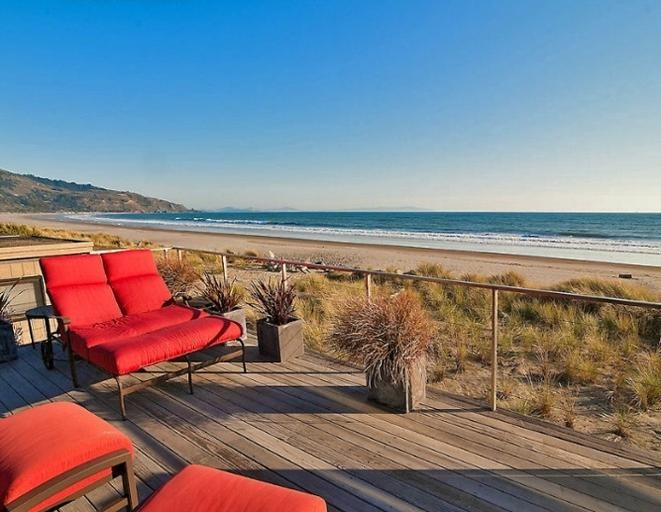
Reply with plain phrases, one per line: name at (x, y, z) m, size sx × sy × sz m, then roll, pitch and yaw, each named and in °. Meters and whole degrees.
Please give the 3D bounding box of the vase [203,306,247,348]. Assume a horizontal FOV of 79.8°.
vase at (-1.178, 0.788, 4.504) m, size 0.485 × 0.382 × 0.435 m, roll -1°, pitch -1°, yaw -10°

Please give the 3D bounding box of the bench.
bench at (-1.951, 0.593, 3.993) m, size 2.033 × 1.030 × 1.504 m, roll 15°, pitch 17°, yaw 40°

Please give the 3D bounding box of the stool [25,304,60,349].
stool at (-2.807, 0.636, 3.796) m, size 0.230 × 0.197 × 0.205 m, roll 11°, pitch 11°, yaw 29°

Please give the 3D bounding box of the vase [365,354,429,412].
vase at (0.616, 1.076, 3.472) m, size 0.504 × 0.312 × 0.492 m, roll -1°, pitch 0°, yaw 37°

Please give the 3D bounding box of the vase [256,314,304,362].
vase at (-0.551, 0.916, 4.393) m, size 0.549 × 0.331 × 0.500 m, roll -1°, pitch 2°, yaw 3°
